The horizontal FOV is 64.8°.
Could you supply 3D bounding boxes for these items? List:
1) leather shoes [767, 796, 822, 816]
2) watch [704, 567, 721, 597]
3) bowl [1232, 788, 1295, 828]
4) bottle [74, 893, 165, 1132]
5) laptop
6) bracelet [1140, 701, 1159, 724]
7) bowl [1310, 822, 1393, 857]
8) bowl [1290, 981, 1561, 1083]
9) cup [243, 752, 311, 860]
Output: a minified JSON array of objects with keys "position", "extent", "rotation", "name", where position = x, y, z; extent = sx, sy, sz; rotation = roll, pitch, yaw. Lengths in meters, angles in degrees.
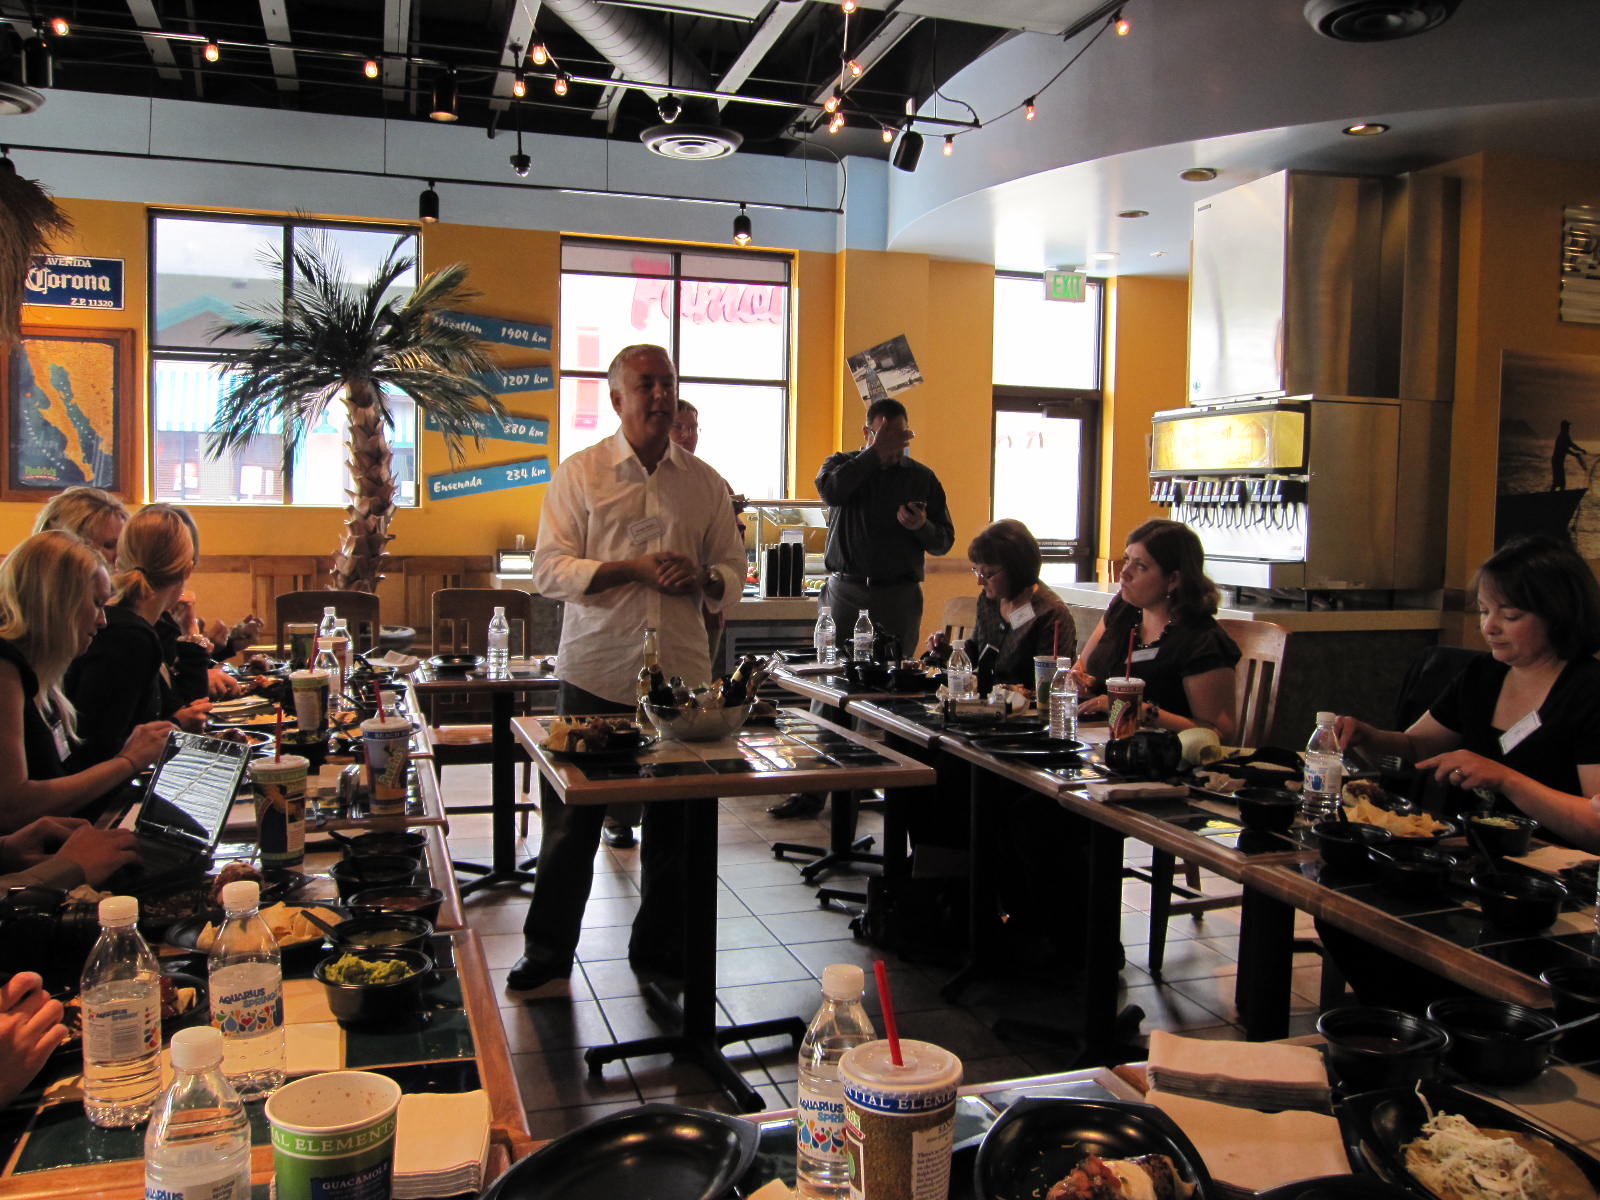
[{"position":[-0.009,1.006,6.155],"extent":[0.329,0.121,0.110],"rotation":[2,-3,-33],"name":"leather shoes"},{"position":[-0.267,-0.054,3.904],"extent":[0.070,0.071,0.074],"rotation":[-1,0,0],"name":"watch"},{"position":[0.989,0.445,2.683],"extent":[0.080,0.036,0.094],"rotation":[2,-2,-29],"name":"bowl"},{"position":[-0.932,0.546,1.727],"extent":[0.107,0.292,0.199],"rotation":[-2,7,-27],"name":"bottle"},{"position":[-1.191,0.405,2.482],"extent":[0.301,0.233,0.209],"rotation":[7,0,24],"name":"laptop"},{"position":[0.925,0.299,3.333],"extent":[0.023,0.056,0.046],"rotation":[-12,-21,39],"name":"bracelet"},{"position":[1.081,0.471,2.481],"extent":[0.129,0.035,0.148],"rotation":[3,6,23],"name":"bowl"},{"position":[0.904,0.620,1.792],"extent":[0.236,0.047,0.141],"rotation":[-2,1,-3],"name":"bowl"},{"position":[-1.023,0.407,2.477],"extent":[0.093,0.198,0.159],"rotation":[-2,7,-23],"name":"cup"}]
